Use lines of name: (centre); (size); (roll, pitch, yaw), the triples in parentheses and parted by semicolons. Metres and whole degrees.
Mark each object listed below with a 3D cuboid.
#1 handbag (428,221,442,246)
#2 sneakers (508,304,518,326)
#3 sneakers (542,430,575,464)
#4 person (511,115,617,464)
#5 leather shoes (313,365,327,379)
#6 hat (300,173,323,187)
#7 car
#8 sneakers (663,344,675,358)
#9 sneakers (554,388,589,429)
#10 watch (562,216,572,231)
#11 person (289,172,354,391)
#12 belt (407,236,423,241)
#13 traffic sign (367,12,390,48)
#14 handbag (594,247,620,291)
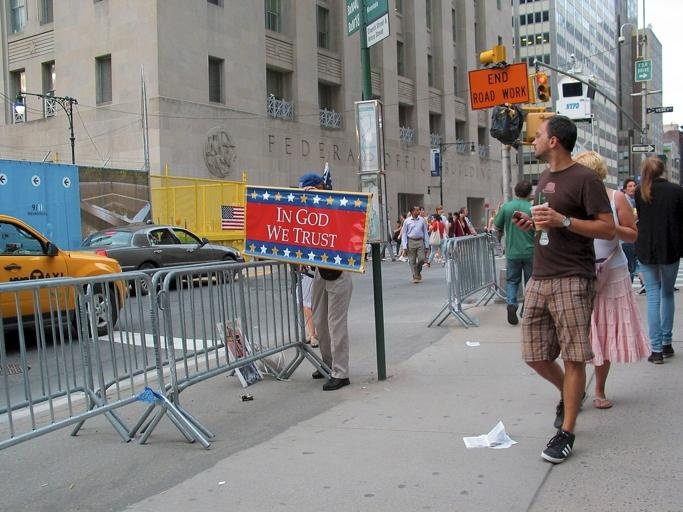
handbag: (3.209, -0.789, 24.161); (0.417, 1.161, 0.777); (2, -4, 4)
sneakers: (2.570, 0.879, 10.589); (0.132, 0.353, 0.141); (-8, 4, 18)
sneakers: (1.719, 1.479, 5.527); (0.140, 0.196, 0.436); (7, 7, 42)
person: (1.809, 0.192, 5.723); (0.772, 2.715, 0.884); (0, 6, 23)
leather shoes: (-0.262, 1.352, 8.090); (0.086, 0.113, 0.152); (-3, -7, 40)
hat: (-0.355, -0.853, 7.905); (0.202, 0.102, 0.149); (-3, 38, 37)
car: (-4.775, -0.266, 17.756); (2.014, 1.879, 5.270); (0, 5, 36)
sneakers: (3.766, 1.085, 8.100); (0.071, 0.139, 0.207); (2, 10, 33)
sneakers: (1.927, 1.288, 5.906); (0.420, 0.162, 0.120); (-55, 12, -32)
watch: (1.777, -0.270, 5.565); (0.052, 0.088, 0.075); (-2, 1, 29)
person: (-0.158, 0.238, 7.878); (0.526, 2.333, 0.914); (-3, 6, -3)
belt: (1.968, -0.465, 18.726); (0.389, 0.103, 0.273); (-3, 6, -1)
traffic sign: (0.427, -2.526, 7.866); (0.192, 0.291, 0.476); (-5, 6, -20)
handbag: (2.359, 0.120, 6.361); (0.178, 0.443, 0.293); (1, -1, -5)
